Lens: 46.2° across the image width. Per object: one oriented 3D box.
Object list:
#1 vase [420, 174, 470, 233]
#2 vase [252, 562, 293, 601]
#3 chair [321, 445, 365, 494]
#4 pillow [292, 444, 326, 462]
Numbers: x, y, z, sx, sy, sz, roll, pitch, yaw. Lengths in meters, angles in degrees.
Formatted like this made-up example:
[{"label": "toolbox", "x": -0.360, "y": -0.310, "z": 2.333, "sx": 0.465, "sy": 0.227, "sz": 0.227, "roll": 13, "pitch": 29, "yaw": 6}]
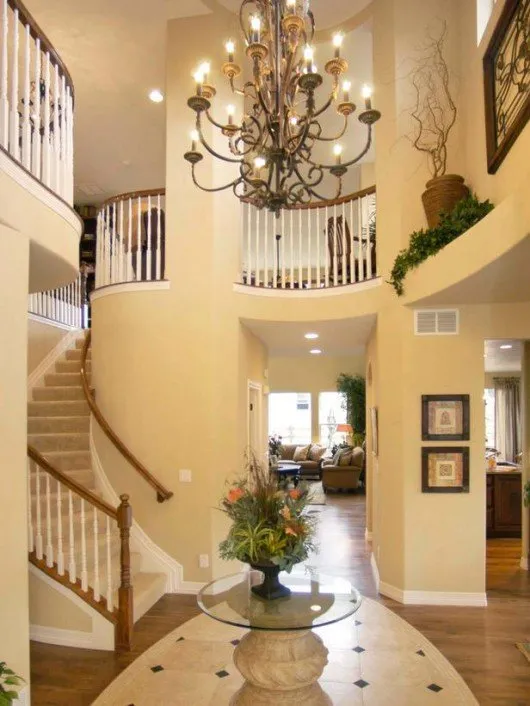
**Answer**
[{"label": "vase", "x": 1.467, "y": -1.230, "z": 5.182, "sx": 0.371, "sy": 0.433, "sz": 0.425, "roll": 3, "pitch": -3, "yaw": 6}, {"label": "vase", "x": 0.032, "y": 1.305, "z": 3.726, "sx": 0.214, "sy": 0.253, "sz": 0.227, "roll": -2, "pitch": 2, "yaw": -34}, {"label": "chair", "x": 1.503, "y": 2.227, "z": 11.894, "sx": 0.809, "sy": 0.844, "sz": 0.906, "roll": -1, "pitch": -4, "yaw": 6}, {"label": "pillow", "x": 0.938, "y": 2.134, "z": 13.366, "sx": 0.397, "sy": 0.178, "sz": 0.421, "roll": -8, "pitch": 2, "yaw": 12}]
